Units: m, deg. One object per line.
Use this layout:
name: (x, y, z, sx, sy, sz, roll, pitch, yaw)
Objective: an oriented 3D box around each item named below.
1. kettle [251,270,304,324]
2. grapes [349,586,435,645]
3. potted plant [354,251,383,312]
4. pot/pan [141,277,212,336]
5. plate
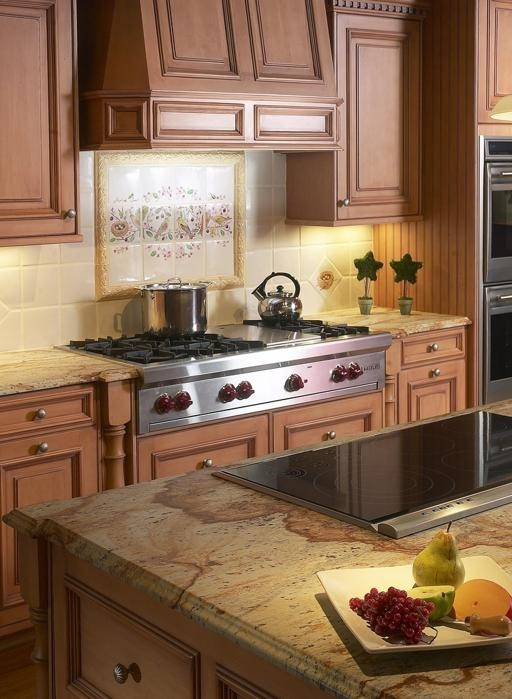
kettle: (0.116, -0.291, 3.564, 0.385, 0.353, 0.275, 0, 0, -4)
grapes: (0.138, 0.252, 0.617, 0.061, 0.043, 0.065, 12, 18, 38)
potted plant: (0.757, -0.435, 4.046, 0.192, 0.361, 0.403, -3, 1, 12)
pot/pan: (-0.387, -0.212, 2.955, 0.297, 0.270, 0.199, -11, 19, -41)
plate: (0.173, 0.270, 0.671, 0.195, 0.044, 0.210, 2, 12, -1)
